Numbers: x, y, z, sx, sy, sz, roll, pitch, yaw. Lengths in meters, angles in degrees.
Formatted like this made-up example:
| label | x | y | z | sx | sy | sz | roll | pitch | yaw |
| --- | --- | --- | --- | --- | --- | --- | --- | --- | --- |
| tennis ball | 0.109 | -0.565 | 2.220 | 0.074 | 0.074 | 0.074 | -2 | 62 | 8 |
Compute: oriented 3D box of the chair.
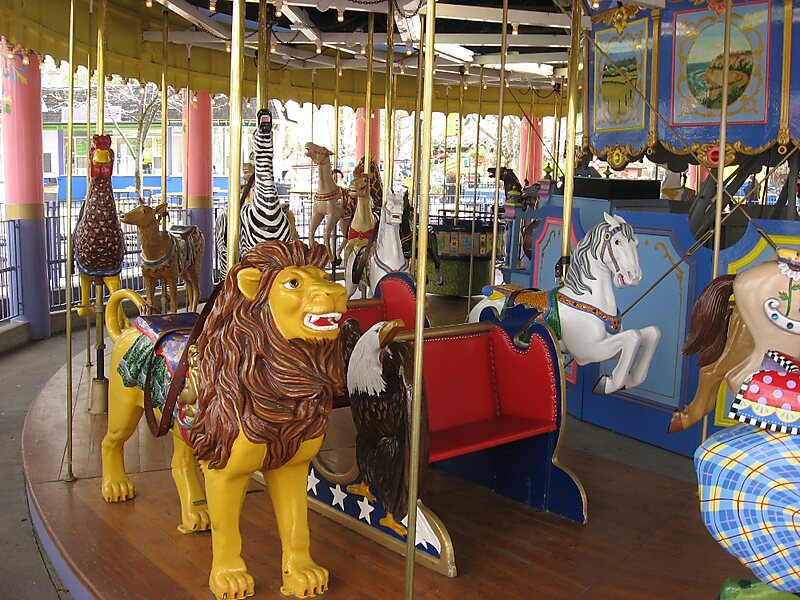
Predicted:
| label | x | y | z | sx | sy | sz | roll | pitch | yaw |
| --- | --- | --- | --- | --- | --- | --- | --- | --- | --- |
| chair | 0.175 | 0.647 | 4.607 | 1.096 | 1.301 | 1.516 | -4 | 6 | -35 |
